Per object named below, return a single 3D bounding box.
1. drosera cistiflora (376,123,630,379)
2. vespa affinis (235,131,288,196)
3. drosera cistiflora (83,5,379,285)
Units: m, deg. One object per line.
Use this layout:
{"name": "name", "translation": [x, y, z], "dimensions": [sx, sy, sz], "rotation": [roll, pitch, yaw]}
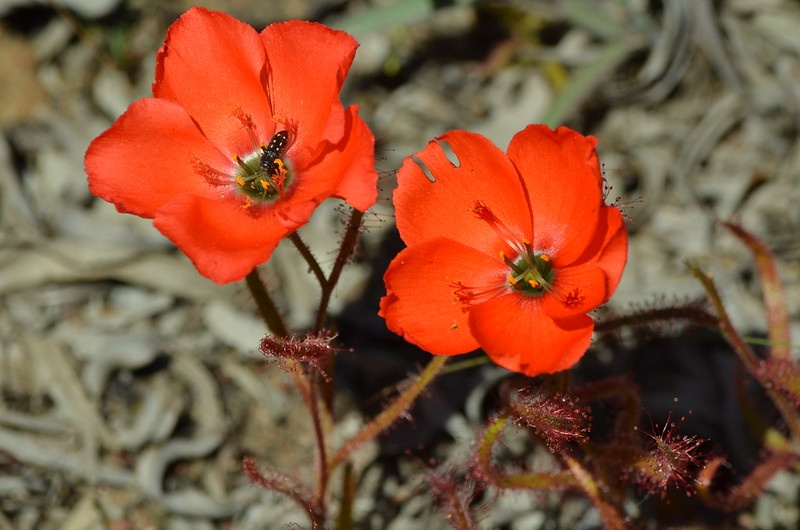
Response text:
{"name": "drosera cistiflora", "translation": [0.397, -0.077, 4.023], "dimensions": [0.789, 1.215, 1.289], "rotation": [1, 90, 4]}
{"name": "vespa affinis", "translation": [-0.593, -0.434, 3.768], "dimensions": [0.205, 0.084, 0.296], "rotation": [19, 80, 10]}
{"name": "drosera cistiflora", "translation": [-0.627, -0.539, 3.767], "dimensions": [1.235, 0.290, 1.188], "rotation": [32, 86, 8]}
